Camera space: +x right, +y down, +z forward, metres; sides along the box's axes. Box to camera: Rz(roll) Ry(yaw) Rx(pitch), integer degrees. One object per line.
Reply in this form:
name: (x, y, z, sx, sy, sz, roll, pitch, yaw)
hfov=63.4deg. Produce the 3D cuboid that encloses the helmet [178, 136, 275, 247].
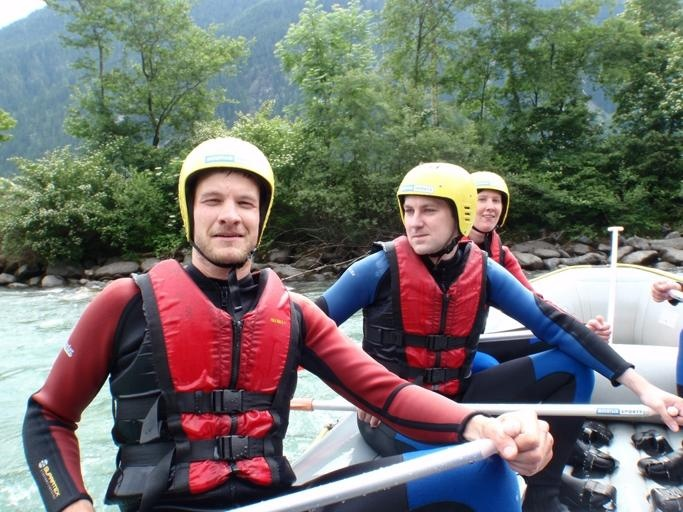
helmet: (-0.577, -0.321, 2.869, 0.436, 0.479, 0.578, 3, -7, -8)
